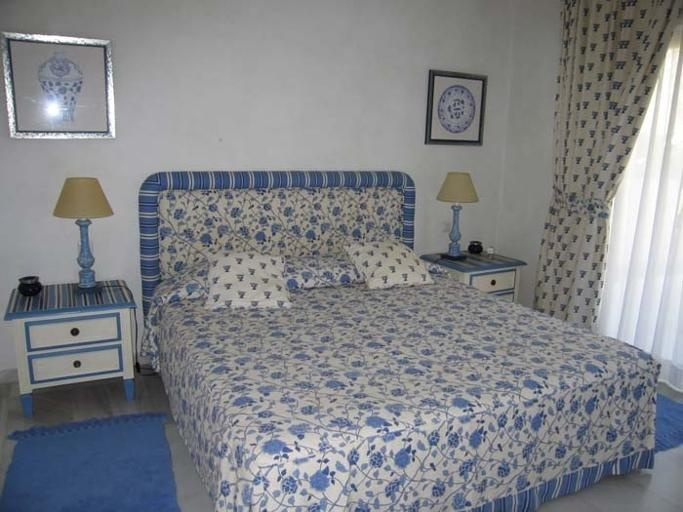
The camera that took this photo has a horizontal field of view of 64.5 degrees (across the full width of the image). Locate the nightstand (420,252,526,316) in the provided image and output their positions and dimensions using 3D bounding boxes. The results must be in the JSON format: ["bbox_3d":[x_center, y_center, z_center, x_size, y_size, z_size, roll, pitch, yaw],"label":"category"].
[{"bbox_3d":[1.489,0.355,5.323,0.720,0.626,0.565,-3,9,29],"label":"nightstand"}]

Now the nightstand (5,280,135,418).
[{"bbox_3d":[-1.886,0.490,4.214,1.082,1.041,0.851,-4,10,-24],"label":"nightstand"}]

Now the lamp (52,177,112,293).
[{"bbox_3d":[-1.919,-0.171,4.044,0.383,0.827,0.441,-6,10,-26],"label":"lamp"}]

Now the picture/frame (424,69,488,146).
[{"bbox_3d":[1.091,-1.475,5.287,0.771,0.711,0.057,-3,13,-28],"label":"picture/frame"}]
